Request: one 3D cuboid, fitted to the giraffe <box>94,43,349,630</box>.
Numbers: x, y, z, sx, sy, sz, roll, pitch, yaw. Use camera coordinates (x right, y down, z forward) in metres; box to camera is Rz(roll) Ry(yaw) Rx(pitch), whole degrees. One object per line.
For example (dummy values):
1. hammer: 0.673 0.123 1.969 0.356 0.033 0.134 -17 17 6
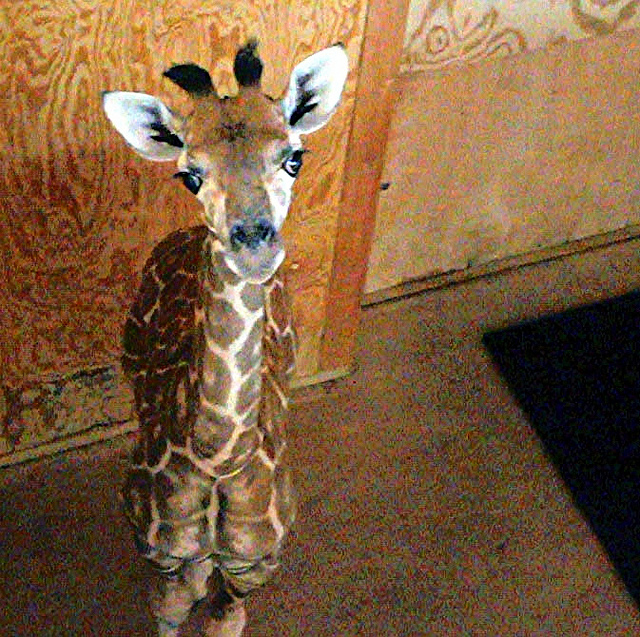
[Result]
1. giraffe: -0.434 0.075 4.466 0.884 2.438 0.917 13 30 18
